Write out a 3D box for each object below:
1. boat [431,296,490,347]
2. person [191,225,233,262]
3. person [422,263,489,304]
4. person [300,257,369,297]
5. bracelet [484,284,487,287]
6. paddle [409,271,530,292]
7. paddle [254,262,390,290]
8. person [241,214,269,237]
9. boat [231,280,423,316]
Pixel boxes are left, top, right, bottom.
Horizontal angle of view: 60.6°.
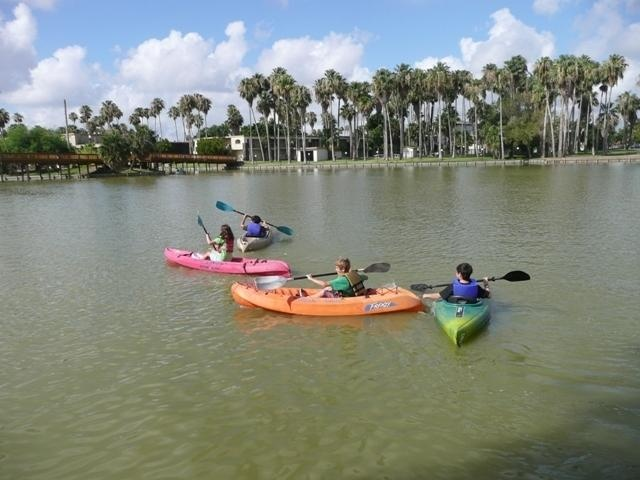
[{"bbox_3d":[2.877,1.622,11.298,0.635,0.438,1.180,1,17,15],"label":"boat"},{"bbox_3d":[-3.558,0.156,17.966,1.139,1.225,0.591,19,31,19],"label":"person"},{"bbox_3d":[3.159,0.868,12.126,0.810,0.558,1.272,0,7,10],"label":"person"},{"bbox_3d":[0.447,0.868,12.801,1.234,0.882,0.811,2,6,26],"label":"person"},{"bbox_3d":[3.634,1.012,11.995,0.054,0.055,0.078,4,11,18],"label":"bracelet"},{"bbox_3d":[3.660,1.030,13.320,2.186,0.308,0.161,-15,-6,35],"label":"paddle"},{"bbox_3d":[0.019,0.947,14.069,3.720,0.515,0.188,-6,-23,10],"label":"paddle"},{"bbox_3d":[-2.356,-0.569,19.949,0.687,0.793,1.812,-2,20,3],"label":"person"},{"bbox_3d":[0.107,1.421,12.676,4.416,0.831,1.439,0,2,7],"label":"boat"}]
